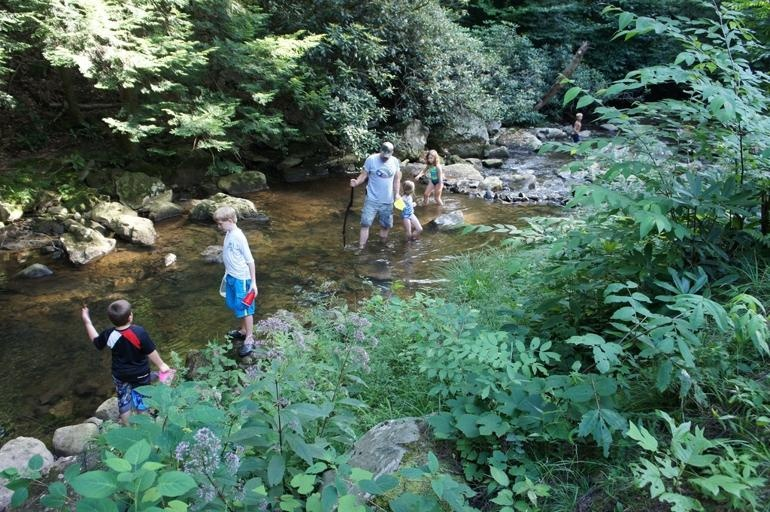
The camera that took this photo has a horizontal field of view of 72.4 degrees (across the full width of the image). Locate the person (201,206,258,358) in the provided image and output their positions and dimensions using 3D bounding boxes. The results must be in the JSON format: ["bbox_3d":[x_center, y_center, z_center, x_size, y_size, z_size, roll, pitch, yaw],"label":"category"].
[{"bbox_3d":[-1.808,0.309,6.471,0.422,1.828,0.581,-10,21,-20],"label":"person"}]

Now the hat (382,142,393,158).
[{"bbox_3d":[0.023,-1.843,9.186,0.182,0.237,0.330,1,18,7],"label":"hat"}]

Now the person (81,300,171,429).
[{"bbox_3d":[-2.674,1.185,5.563,0.876,1.483,0.453,14,26,38],"label":"person"}]

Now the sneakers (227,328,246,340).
[{"bbox_3d":[-1.893,1.035,6.904,0.339,0.112,0.112,5,7,-2],"label":"sneakers"}]
